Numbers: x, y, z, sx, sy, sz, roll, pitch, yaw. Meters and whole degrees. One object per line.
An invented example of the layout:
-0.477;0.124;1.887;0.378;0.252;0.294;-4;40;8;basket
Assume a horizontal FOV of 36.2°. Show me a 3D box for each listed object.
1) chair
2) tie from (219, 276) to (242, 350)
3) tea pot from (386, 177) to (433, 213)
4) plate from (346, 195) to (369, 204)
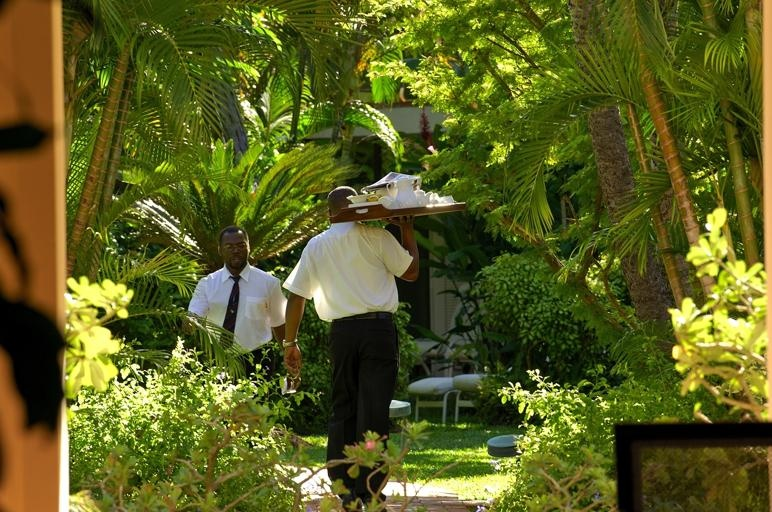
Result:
0.790;1.661;14.163;0.509;0.763;0.844;-7;-11;38;chair
-1.194;0.404;9.024;0.116;0.522;0.072;6;-24;2;tie
0.157;-0.423;8.282;0.284;0.294;0.195;2;-8;-9;tea pot
-0.206;-0.393;8.300;0.159;0.068;0.049;-11;-13;36;plate
